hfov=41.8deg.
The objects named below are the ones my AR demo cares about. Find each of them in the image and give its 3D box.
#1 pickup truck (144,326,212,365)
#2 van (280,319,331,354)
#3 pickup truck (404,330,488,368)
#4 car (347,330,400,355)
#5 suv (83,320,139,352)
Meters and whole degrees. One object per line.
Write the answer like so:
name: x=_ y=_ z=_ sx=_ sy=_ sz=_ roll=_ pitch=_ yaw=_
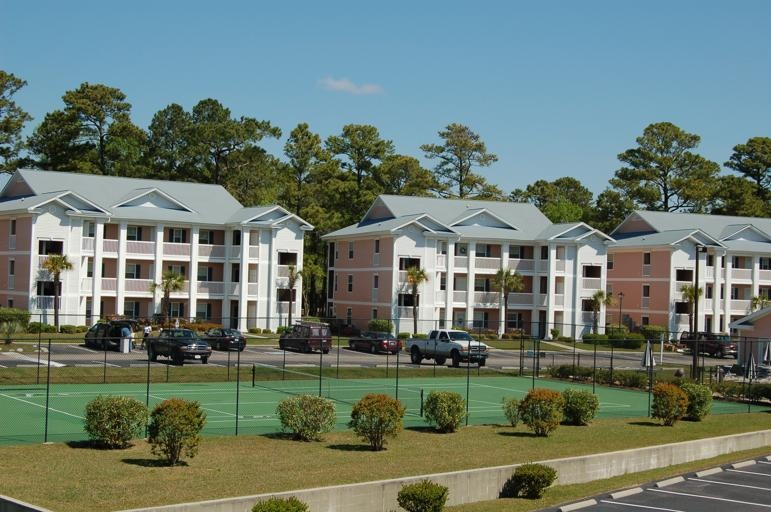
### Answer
pickup truck: x=-13.312 y=5.869 z=67.241 sx=2.421 sy=1.953 sz=4.709 roll=3 pitch=-5 yaw=-36
van: x=-5.798 y=6.276 z=76.519 sx=2.685 sy=2.505 sz=4.826 roll=3 pitch=0 yaw=-38
pickup truck: x=4.503 y=6.692 z=73.473 sx=2.597 sy=2.739 sz=6.208 roll=9 pitch=-12 yaw=-41
car: x=-0.828 y=6.775 z=78.803 sx=1.786 sy=1.316 sz=4.313 roll=3 pitch=0 yaw=-39
suv: x=-19.106 y=5.624 z=70.674 sx=2.227 sy=1.773 sz=3.778 roll=3 pitch=2 yaw=-38
